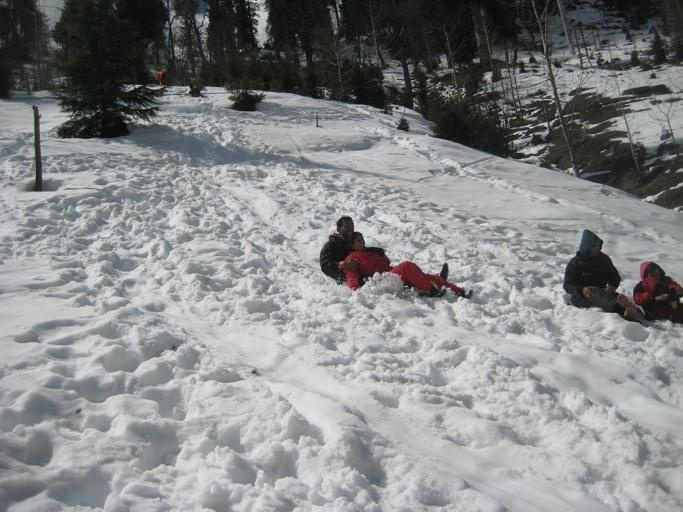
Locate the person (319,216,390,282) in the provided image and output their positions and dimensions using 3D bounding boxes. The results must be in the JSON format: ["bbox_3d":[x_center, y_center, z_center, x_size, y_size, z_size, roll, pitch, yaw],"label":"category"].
[{"bbox_3d":[0.266,-0.093,13.617,0.751,1.322,0.933,-35,-12,38],"label":"person"}]

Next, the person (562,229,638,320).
[{"bbox_3d":[4.805,0.330,12.190,1.236,1.585,0.794,-1,10,22],"label":"person"}]
